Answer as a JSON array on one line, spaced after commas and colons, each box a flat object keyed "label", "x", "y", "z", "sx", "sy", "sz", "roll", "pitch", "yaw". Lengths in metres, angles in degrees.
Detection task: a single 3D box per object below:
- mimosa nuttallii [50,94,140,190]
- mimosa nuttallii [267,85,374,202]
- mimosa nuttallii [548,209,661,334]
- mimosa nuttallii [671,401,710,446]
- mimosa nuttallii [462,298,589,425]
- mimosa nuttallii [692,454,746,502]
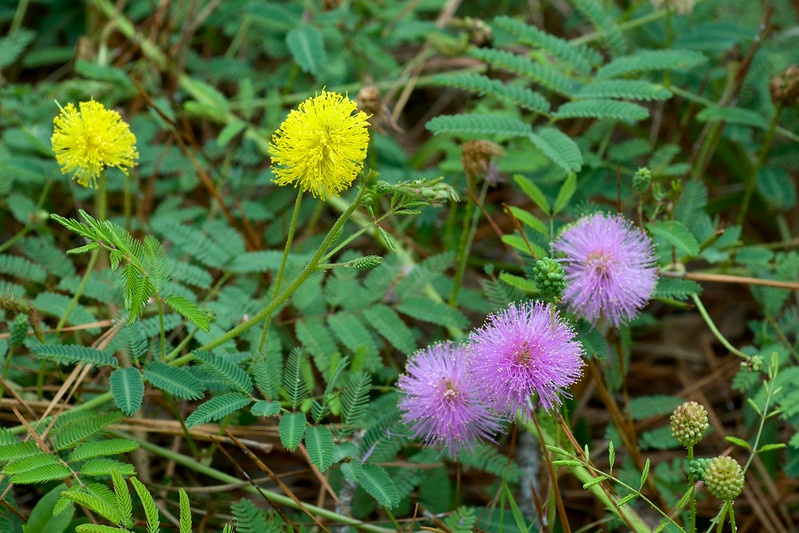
[{"label": "mimosa nuttallii", "x": -1.413, "y": -0.578, "z": 3.283, "sx": 0.359, "sy": 0.363, "sz": 0.300, "roll": 0, "pitch": 98, "yaw": 35}, {"label": "mimosa nuttallii", "x": -0.295, "y": -0.599, "z": 3.067, "sx": 0.322, "sy": 0.321, "sz": 0.357, "roll": 4, "pitch": 85, "yaw": -22}, {"label": "mimosa nuttallii", "x": 0.959, "y": 0.031, "z": 3.263, "sx": 0.517, "sy": 0.381, "sz": 0.478, "roll": 3, "pitch": 60, "yaw": 1}, {"label": "mimosa nuttallii", "x": 1.260, "y": 0.676, "z": 3.046, "sx": 0.115, "sy": 0.123, "sz": 0.141, "roll": 16, "pitch": 88, "yaw": 11}, {"label": "mimosa nuttallii", "x": 0.580, "y": 0.334, "z": 3.218, "sx": 0.462, "sy": 0.517, "sz": 0.289, "roll": -12, "pitch": 65, "yaw": 6}, {"label": "mimosa nuttallii", "x": 1.379, "y": 0.919, "z": 3.032, "sx": 0.153, "sy": 0.163, "sz": 0.184, "roll": 1, "pitch": 89, "yaw": 38}]
